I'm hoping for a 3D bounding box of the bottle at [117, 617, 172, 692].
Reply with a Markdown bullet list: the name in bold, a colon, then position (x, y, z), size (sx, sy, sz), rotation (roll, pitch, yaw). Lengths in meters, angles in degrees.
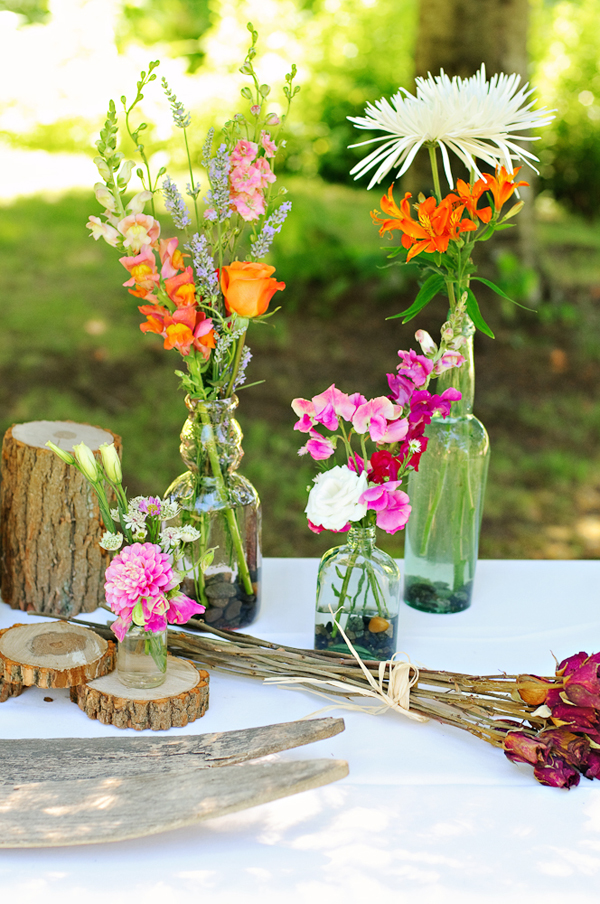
- **bottle**: position (-0.169, 0.222, 0.969), size (0.047, 0.062, 0.042), rotation (16, 12, -44)
